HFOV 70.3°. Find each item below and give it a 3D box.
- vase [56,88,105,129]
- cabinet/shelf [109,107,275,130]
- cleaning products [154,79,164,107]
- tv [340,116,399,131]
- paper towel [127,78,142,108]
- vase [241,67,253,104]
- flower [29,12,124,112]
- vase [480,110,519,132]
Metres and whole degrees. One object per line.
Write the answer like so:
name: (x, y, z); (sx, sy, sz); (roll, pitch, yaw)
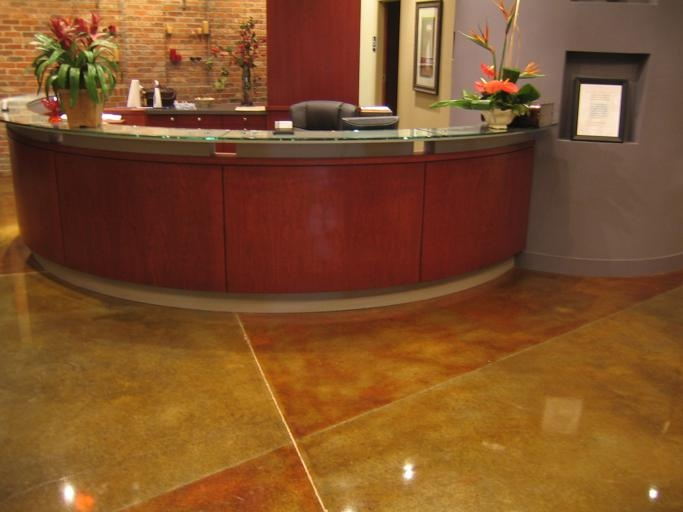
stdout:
vase: (-1.874, -1.047, 3.563); (0.307, 0.244, 0.294); (-4, 6, 5)
cabinet/shelf: (-2.006, -1.915, 6.775); (2.115, 0.349, 0.313); (-9, 20, -22)
cleaning products: (-2.598, -2.273, 6.856); (0.125, 0.321, 0.563); (-7, 20, -18)
tv: (0.276, -1.152, 4.240); (0.410, 0.108, 0.663); (12, 24, 33)
paper towel: (-2.843, -2.223, 6.659); (0.197, 0.353, 0.353); (-9, 20, -22)
vase: (-1.452, -2.602, 7.465); (0.150, 0.547, 0.294); (-5, 18, -11)
flower: (-1.903, -1.353, 3.513); (0.535, 0.649, 0.697); (-9, 26, -30)
vase: (1.281, -1.104, 3.918); (0.196, 0.099, 0.202); (-6, 19, -22)
